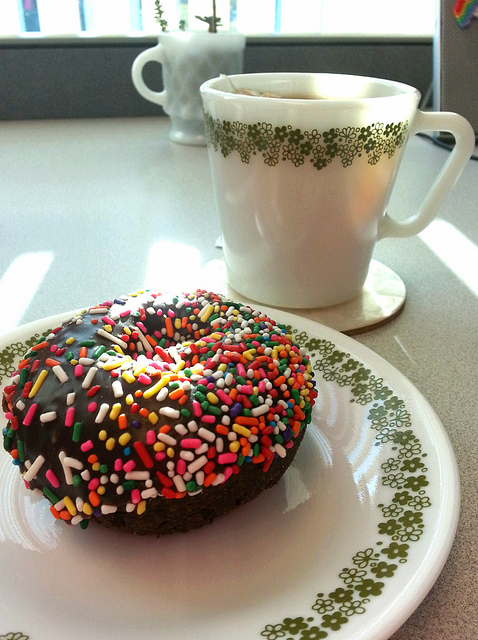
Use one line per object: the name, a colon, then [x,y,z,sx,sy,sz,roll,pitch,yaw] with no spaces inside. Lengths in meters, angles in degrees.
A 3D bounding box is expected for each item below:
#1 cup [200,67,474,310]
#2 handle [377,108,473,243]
cup: [0.119,-0.158,0.695,0.313,0.236,0.245,3,37,-4]
handle: [0.220,-0.157,0.666,0.069,0.201,0.141,18,47,16]
